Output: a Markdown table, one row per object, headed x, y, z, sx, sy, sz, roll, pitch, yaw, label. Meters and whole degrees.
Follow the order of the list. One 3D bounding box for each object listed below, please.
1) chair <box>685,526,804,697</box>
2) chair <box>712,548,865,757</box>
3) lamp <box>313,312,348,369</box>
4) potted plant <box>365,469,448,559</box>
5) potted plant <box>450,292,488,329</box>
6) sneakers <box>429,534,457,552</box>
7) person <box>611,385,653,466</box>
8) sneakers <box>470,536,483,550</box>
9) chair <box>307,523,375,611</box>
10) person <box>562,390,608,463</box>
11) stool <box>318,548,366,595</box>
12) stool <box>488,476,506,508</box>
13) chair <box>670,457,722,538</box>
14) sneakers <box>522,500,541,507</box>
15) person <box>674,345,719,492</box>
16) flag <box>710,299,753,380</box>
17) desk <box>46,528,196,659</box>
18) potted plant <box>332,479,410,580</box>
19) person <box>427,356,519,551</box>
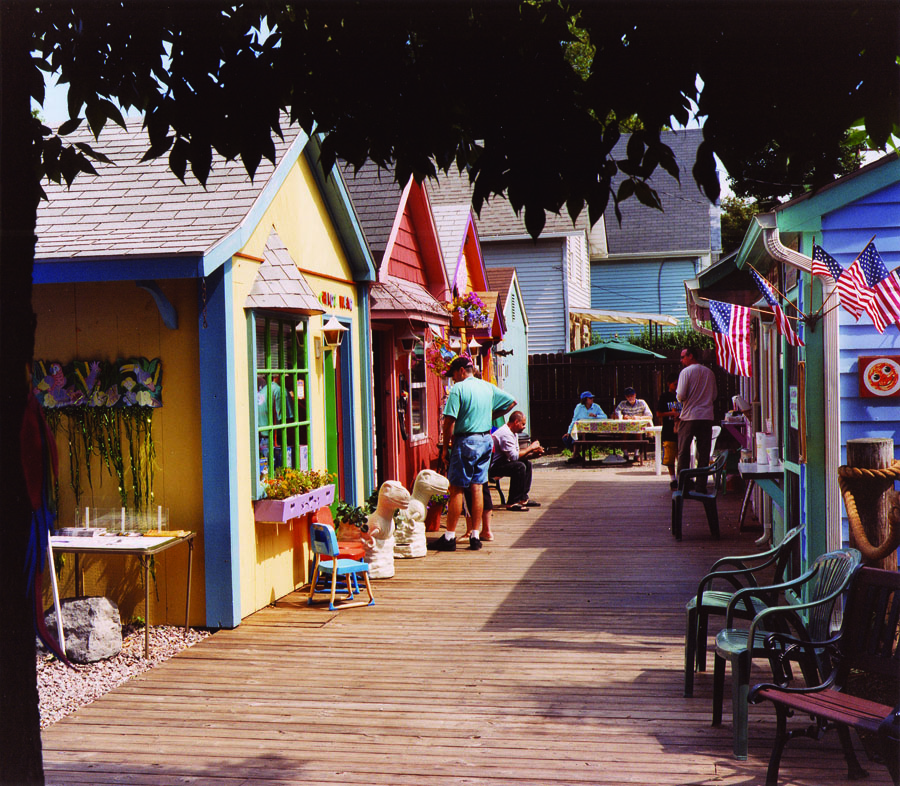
| x | y | z | sx | sy | sz | roll | pitch | yaw | label |
| --- | --- | --- | --- | --- | --- | --- | --- | --- | --- |
| 1.679 | 1.336 | 7.100 | 0.634 | 1.081 | 0.671 | 1 | -6 | 26 | chair |
| 1.702 | 1.338 | 6.339 | 0.671 | 1.068 | 0.692 | 2 | 3 | -22 | chair |
| -1.063 | -0.476 | 10.657 | 0.161 | 0.495 | 0.276 | 5 | -10 | -31 | lamp |
| -0.391 | 1.156 | 11.105 | 0.728 | 1.066 | 0.498 | 0 | 9 | 0 | potted plant |
| 0.225 | -1.106 | 16.161 | 0.432 | 0.459 | 0.760 | 0 | 3 | 19 | potted plant |
| -0.105 | 1.454 | 11.873 | 0.336 | 0.176 | 0.122 | 5 | 3 | 32 | sneakers |
| 3.173 | 0.567 | 21.149 | 0.560 | 1.353 | 0.634 | 3 | 6 | 44 | person |
| 0.250 | 1.445 | 11.685 | 0.066 | 0.148 | 0.131 | 2 | 9 | 7 | sneakers |
| -0.860 | 1.313 | 9.322 | 0.394 | 0.661 | 0.451 | -2 | 2 | -27 | chair |
| 2.295 | 0.694 | 20.603 | 0.607 | 1.588 | 0.429 | 1 | -31 | 8 | person |
| -0.853 | 1.439 | 9.512 | 0.315 | 0.582 | 0.342 | -1 | 2 | -2 | stool |
| 0.622 | 1.311 | 16.046 | 0.270 | 0.449 | 0.314 | -1 | -6 | -2 | stool |
| 2.490 | 1.080 | 12.130 | 0.453 | 0.651 | 0.424 | 2 | 3 | 33 | chair |
| 1.013 | 1.359 | 14.994 | 0.214 | 0.092 | 0.103 | -2 | -31 | 5 | sneakers |
| 2.925 | 0.252 | 14.448 | 0.418 | 1.708 | 0.463 | -1 | 14 | -1 | person |
| 1.951 | -0.388 | 8.409 | 0.274 | 0.547 | 0.832 | 0 | 3 | 13 | flag |
| -2.234 | 1.322 | 8.175 | 0.946 | 0.752 | 0.910 | 0 | 3 | 17 | desk |
| -0.607 | 1.127 | 10.212 | 0.495 | 0.753 | 0.408 | 1 | -4 | 26 | potted plant |
| 0.219 | 0.580 | 12.057 | 0.758 | 1.859 | 0.999 | -1 | 3 | 2 | person |
